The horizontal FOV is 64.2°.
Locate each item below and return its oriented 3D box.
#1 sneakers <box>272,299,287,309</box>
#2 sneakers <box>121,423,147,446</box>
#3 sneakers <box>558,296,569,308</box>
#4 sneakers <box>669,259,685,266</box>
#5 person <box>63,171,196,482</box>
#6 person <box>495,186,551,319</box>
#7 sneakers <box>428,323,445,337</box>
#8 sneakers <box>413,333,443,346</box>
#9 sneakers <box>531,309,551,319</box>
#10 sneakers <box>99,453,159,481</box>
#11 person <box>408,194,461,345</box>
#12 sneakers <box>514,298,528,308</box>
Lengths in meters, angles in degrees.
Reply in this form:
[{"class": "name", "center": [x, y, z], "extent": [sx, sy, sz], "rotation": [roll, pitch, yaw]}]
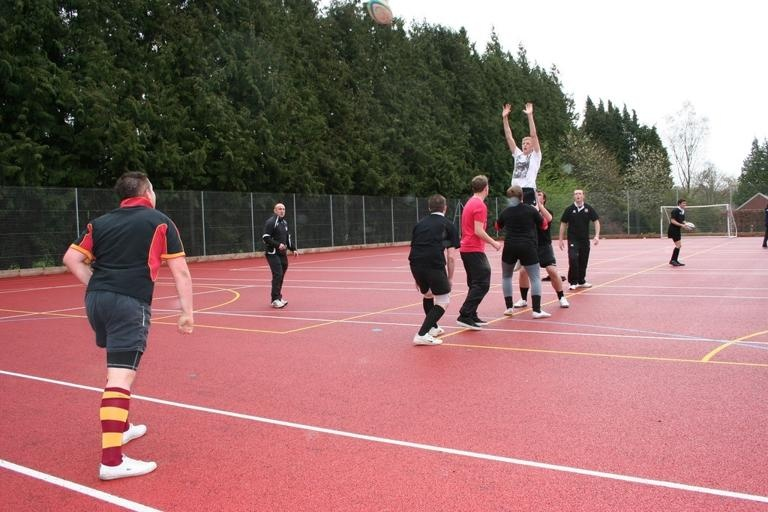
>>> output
[{"class": "sneakers", "center": [-2.238, 1.016, 13.109], "extent": [0.345, 0.157, 0.128], "rotation": [-5, -3, 42]}, {"class": "sneakers", "center": [-2.548, 1.794, 6.238], "extent": [0.088, 0.097, 0.243], "rotation": [5, 10, 20]}, {"class": "sneakers", "center": [3.575, 0.916, 12.146], "extent": [0.116, 0.136, 0.320], "rotation": [-4, -1, 9]}, {"class": "sneakers", "center": [9.634, 0.225, 20.132], "extent": [0.410, 0.280, 0.137], "rotation": [-4, 11, -5]}, {"class": "person", "center": [-2.381, 0.574, 5.886], "extent": [1.031, 2.719, 1.022], "rotation": [-6, 10, -27]}, {"class": "person", "center": [2.474, -0.051, 10.941], "extent": [0.920, 2.372, 0.751], "rotation": [4, 10, 35]}, {"class": "sneakers", "center": [0.888, 1.197, 9.981], "extent": [0.154, 0.156, 0.364], "rotation": [2, 7, 27]}, {"class": "sneakers", "center": [0.689, 1.251, 9.261], "extent": [0.479, 0.207, 0.173], "rotation": [0, -2, -5]}, {"class": "sneakers", "center": [2.814, 1.041, 11.000], "extent": [0.375, 0.153, 0.136], "rotation": [-1, 0, -5]}, {"class": "sneakers", "center": [-2.324, 1.924, 5.654], "extent": [0.544, 0.215, 0.195], "rotation": [2, -2, -17]}, {"class": "person", "center": [0.735, 0.193, 9.360], "extent": [0.699, 2.208, 0.914], "rotation": [3, 10, 31]}, {"class": "sneakers", "center": [2.771, 0.952, 12.349], "extent": [0.127, 0.145, 0.330], "rotation": [-5, -8, 39]}]
